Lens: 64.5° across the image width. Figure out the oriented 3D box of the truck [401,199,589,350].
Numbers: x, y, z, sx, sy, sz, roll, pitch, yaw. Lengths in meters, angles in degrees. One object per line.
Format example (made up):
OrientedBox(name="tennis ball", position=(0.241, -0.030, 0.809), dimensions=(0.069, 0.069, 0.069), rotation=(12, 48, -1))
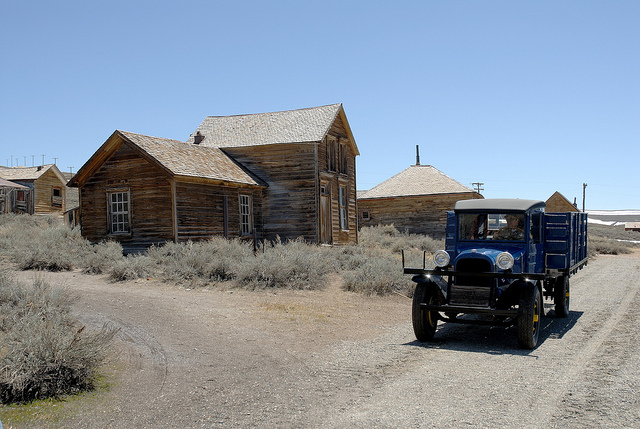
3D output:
OrientedBox(name="truck", position=(4.734, 1.199, 12.580), dimensions=(2.561, 2.865, 6.115), rotation=(-2, -4, 32))
